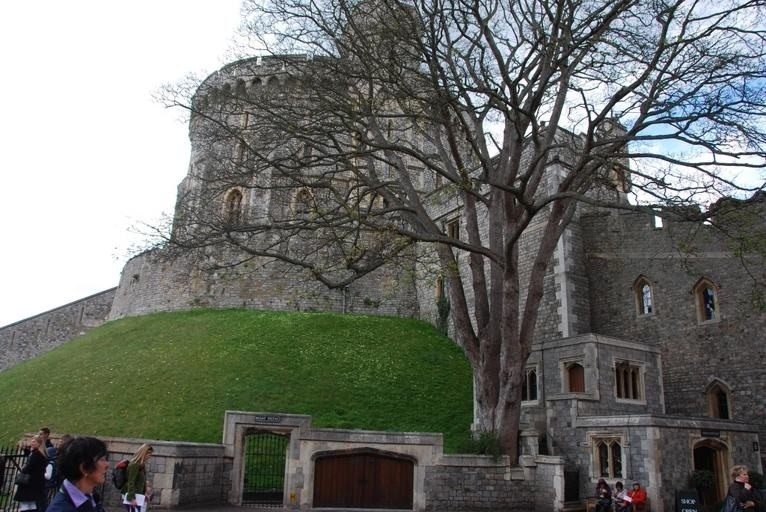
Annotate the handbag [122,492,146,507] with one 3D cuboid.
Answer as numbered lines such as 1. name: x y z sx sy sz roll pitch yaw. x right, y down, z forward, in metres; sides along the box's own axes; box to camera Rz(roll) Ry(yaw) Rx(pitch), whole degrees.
1. handbag: -5.860 5.754 13.916 0.498 0.323 0.112 4 -11 5
